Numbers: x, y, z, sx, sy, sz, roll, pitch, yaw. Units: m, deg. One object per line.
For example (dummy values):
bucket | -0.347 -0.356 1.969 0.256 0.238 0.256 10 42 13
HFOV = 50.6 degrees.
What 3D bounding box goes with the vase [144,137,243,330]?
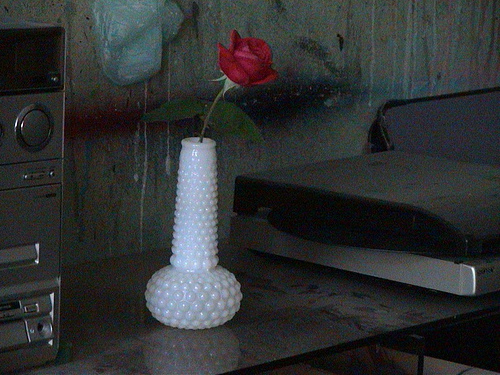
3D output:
vase | -0.086 0.072 0.795 0.144 0.285 0.061 -2 6 -11
